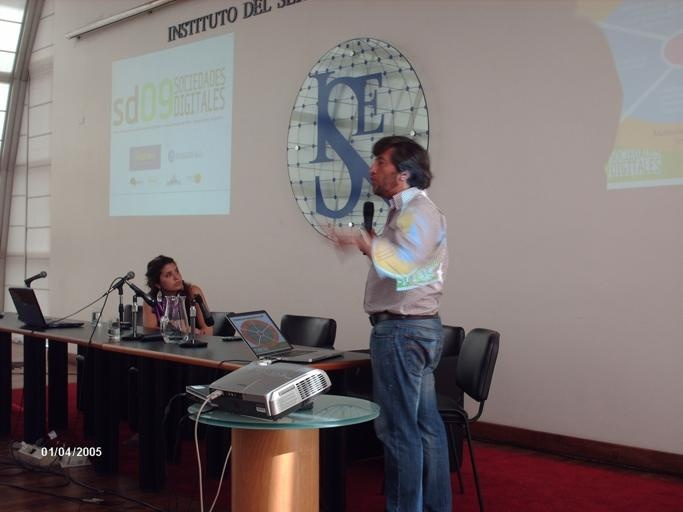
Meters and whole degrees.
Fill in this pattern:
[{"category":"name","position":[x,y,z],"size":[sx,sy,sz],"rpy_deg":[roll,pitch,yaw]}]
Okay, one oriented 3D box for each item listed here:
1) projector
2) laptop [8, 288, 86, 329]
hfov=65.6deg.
[{"category":"projector","position":[-0.282,0.496,2.007],"size":[0.401,0.136,0.413],"rpy_deg":[-5,1,25]},{"category":"laptop","position":[-2.303,0.363,3.920],"size":[0.514,0.313,0.580],"rpy_deg":[0,-3,29]}]
